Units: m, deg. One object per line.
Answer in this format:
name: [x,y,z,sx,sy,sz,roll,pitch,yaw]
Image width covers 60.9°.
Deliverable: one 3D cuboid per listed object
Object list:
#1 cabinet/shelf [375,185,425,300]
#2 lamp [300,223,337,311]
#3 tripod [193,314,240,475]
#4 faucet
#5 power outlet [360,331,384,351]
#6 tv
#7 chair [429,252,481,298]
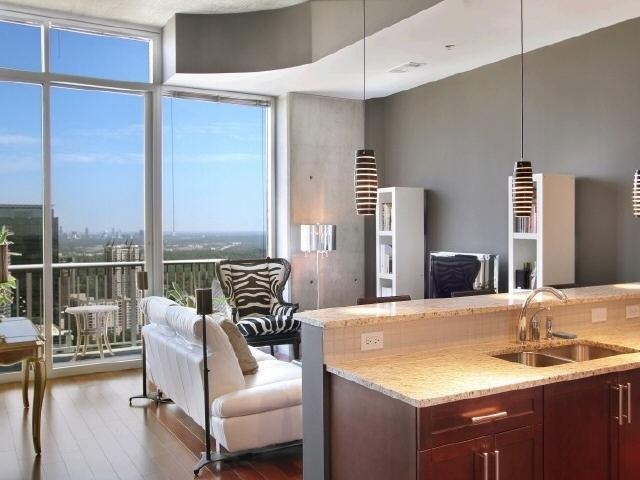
cabinet/shelf: [1.045,0.057,6.971,0.677,1.428,0.638,3,14,5]
lamp: [-0.045,0.355,7.291,0.463,1.200,0.480,1,14,-4]
tripod: [-0.879,1.176,4.170,0.306,1.201,0.351,-7,16,-32]
faucet: [1.536,0.480,3.793,0.266,0.387,0.498,7,15,20]
power outlet: [0.316,0.626,3.398,0.131,0.093,0.018,-1,0,-25]
tv: [1.599,0.387,5.982,0.214,0.480,0.549,0,1,-33]
chair: [1.538,0.407,6.325,0.566,0.574,0.336,0,3,-17]
